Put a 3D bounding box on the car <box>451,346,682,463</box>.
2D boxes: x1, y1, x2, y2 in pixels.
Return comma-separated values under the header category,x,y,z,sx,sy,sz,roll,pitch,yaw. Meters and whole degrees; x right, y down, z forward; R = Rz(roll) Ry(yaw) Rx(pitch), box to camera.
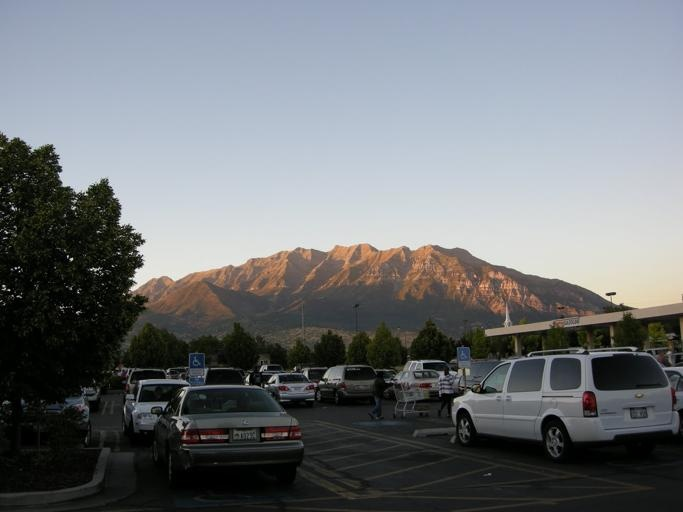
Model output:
category,x,y,z,sx,sy,sz,roll,pitch,yaw
car,5.149,3.382,16.362,2.420,1.725,4.406,4,-5,-30
